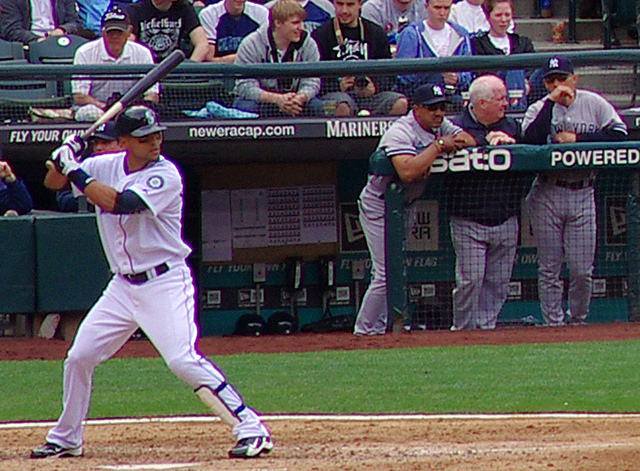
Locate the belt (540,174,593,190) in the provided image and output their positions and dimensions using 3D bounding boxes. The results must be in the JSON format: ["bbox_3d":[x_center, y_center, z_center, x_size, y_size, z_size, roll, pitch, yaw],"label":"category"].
[{"bbox_3d":[2.283,-0.485,15.648,0.478,0.143,0.102,-2,-2,2],"label":"belt"}]

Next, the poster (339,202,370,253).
[{"bbox_3d":[0.347,-0.079,17.494,0.278,0.528,0.131,-2,-3,1],"label":"poster"}]

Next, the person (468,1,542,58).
[{"bbox_3d":[1.779,-2.006,16.546,0.464,0.535,0.752,-4,-3,42],"label":"person"}]

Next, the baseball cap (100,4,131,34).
[{"bbox_3d":[-1.923,-2.038,16.026,0.236,0.205,0.345,-3,1,-2],"label":"baseball cap"}]

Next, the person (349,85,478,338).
[{"bbox_3d":[0.821,-0.198,15.403,1.093,2.211,0.540,-4,-3,40],"label":"person"}]

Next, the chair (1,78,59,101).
[{"bbox_3d":[-2.729,-1.361,15.947,0.550,0.179,0.242,-2,-2,-2],"label":"chair"}]

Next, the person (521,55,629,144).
[{"bbox_3d":[2.314,-1.148,15.557,1.014,0.888,0.547,-3,-1,-1],"label":"person"}]

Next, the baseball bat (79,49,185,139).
[{"bbox_3d":[-1.663,-1.227,14.823,1.446,0.154,0.159,-36,45,-9],"label":"baseball bat"}]

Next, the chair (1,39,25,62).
[{"bbox_3d":[-2.997,-1.792,16.542,0.219,0.217,0.213,-1,3,-33],"label":"chair"}]
